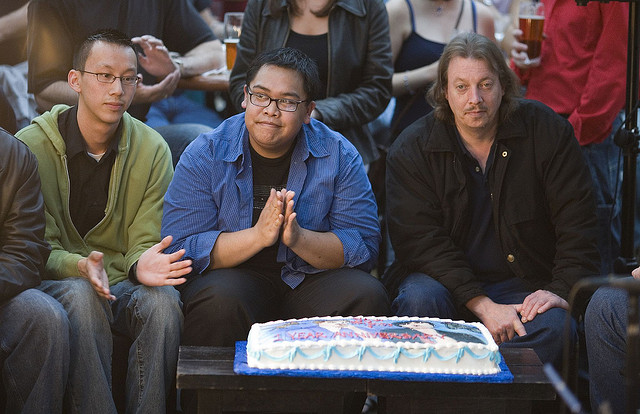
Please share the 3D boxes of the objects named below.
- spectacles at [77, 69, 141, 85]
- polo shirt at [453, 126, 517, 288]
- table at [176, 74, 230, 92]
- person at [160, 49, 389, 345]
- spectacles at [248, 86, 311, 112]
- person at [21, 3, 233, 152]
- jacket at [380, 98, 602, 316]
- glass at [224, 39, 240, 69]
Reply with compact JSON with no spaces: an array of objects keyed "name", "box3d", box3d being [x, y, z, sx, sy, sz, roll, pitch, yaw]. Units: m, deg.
[{"name":"spectacles","box3d":[-1.305,-0.810,4.129,0.335,0.070,0.108,-4,23,-21]},{"name":"polo shirt","box3d":[1.110,0.016,4.326,0.604,0.924,0.221,-3,0,13]},{"name":"table","box3d":[-0.909,-0.976,5.180,0.409,0.115,0.173,6,21,5]},{"name":"person","box3d":[-0.276,-0.092,4.015,1.380,1.627,0.873,0,21,-10]},{"name":"spectacles","box3d":[-0.259,-0.631,3.960,0.329,0.092,0.078,3,21,-3]},{"name":"person","box3d":[-1.437,-0.949,4.725,1.031,1.476,0.878,-8,15,-36]},{"name":"jacket","box3d":[1.169,-0.001,4.766,1.510,1.659,1.305,-4,7,8]},{"name":"glass","box3d":[-0.717,-1.225,5.275,0.178,0.229,0.185,0,18,-9]}]
